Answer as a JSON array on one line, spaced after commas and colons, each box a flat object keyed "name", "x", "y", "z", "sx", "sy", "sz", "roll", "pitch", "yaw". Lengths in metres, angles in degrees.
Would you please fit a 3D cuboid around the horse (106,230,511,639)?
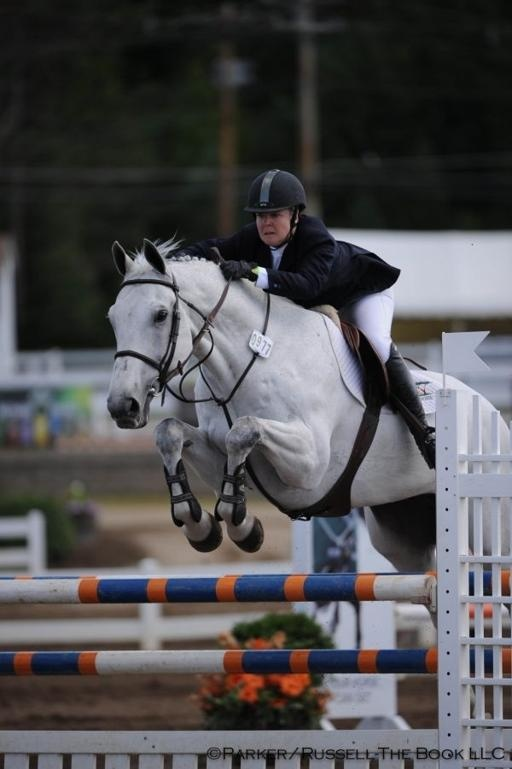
[{"name": "horse", "x": 0.140, "y": 0.255, "z": 15.178, "sx": 2.622, "sy": 2.900, "sz": 1.091, "roll": -3, "pitch": 11, "yaw": -5}]

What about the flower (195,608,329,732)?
[{"name": "flower", "x": 0.045, "y": 2.408, "z": 16.285, "sx": 0.908, "sy": 0.949, "sz": 0.912, "roll": -1, "pitch": 1, "yaw": -4}]

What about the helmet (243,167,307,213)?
[{"name": "helmet", "x": 0.132, "y": -1.520, "z": 15.056, "sx": 0.301, "sy": 0.267, "sz": 0.420, "roll": -1, "pitch": 2, "yaw": 20}]

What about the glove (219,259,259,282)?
[{"name": "glove", "x": -0.148, "y": -0.882, "z": 15.038, "sx": 0.295, "sy": 0.169, "sz": 0.193, "roll": -2, "pitch": 11, "yaw": 0}]
